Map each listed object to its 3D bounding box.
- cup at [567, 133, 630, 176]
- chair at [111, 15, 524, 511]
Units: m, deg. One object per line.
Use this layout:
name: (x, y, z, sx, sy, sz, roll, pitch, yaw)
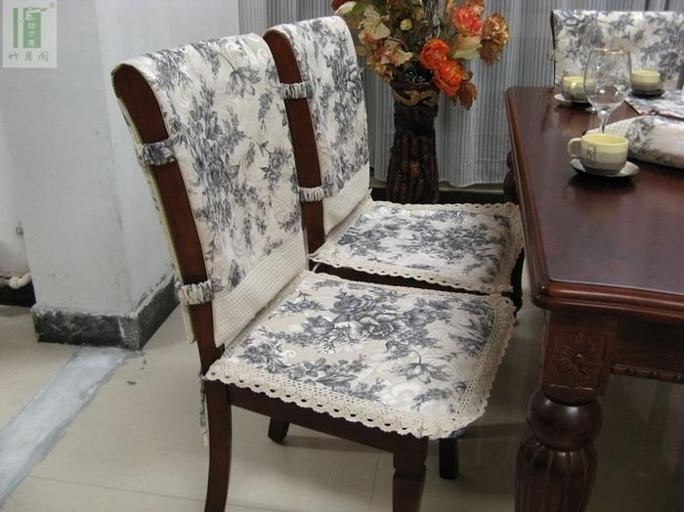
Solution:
cup: (0.539, -0.218, 1.148, 0.116, 0.071, 0.093, 14, 27, 35)
chair: (0.083, 0.006, 1.347, 0.688, 1.181, 0.853, 5, 21, 21)
